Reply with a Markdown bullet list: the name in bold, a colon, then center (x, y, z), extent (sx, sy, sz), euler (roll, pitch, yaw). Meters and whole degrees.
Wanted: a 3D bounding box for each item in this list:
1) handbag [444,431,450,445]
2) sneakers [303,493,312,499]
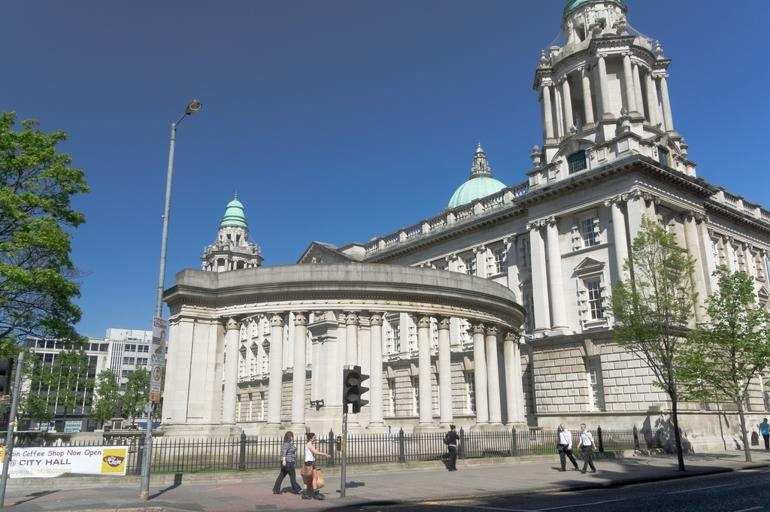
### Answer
- **handbag**: center (3.485, 10.099, 35.135), extent (0.523, 0.616, 0.262), euler (-2, -1, 8)
- **sneakers**: center (-3.476, 10.573, 27.901), extent (0.463, 0.282, 0.149), euler (-3, -16, 3)
